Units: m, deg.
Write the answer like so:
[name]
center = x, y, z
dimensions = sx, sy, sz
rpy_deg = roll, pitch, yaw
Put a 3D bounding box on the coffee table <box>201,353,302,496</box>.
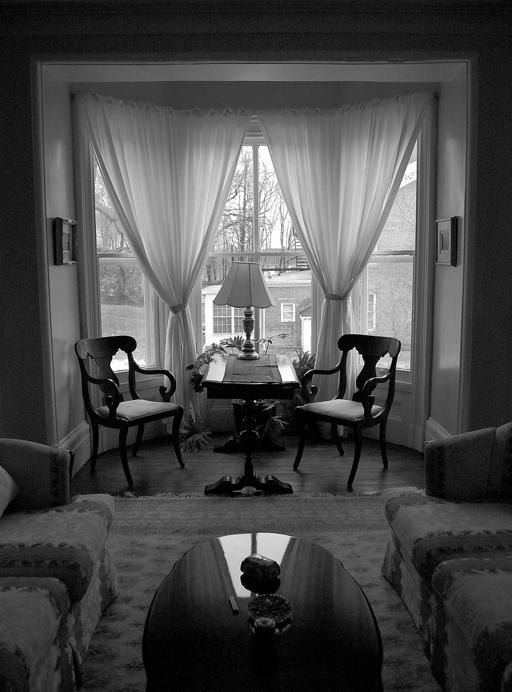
[coffee table]
center = -0.042, 0.378, 3.477
dimensions = 0.652, 0.779, 1.152
rpy_deg = 1, 4, 1
